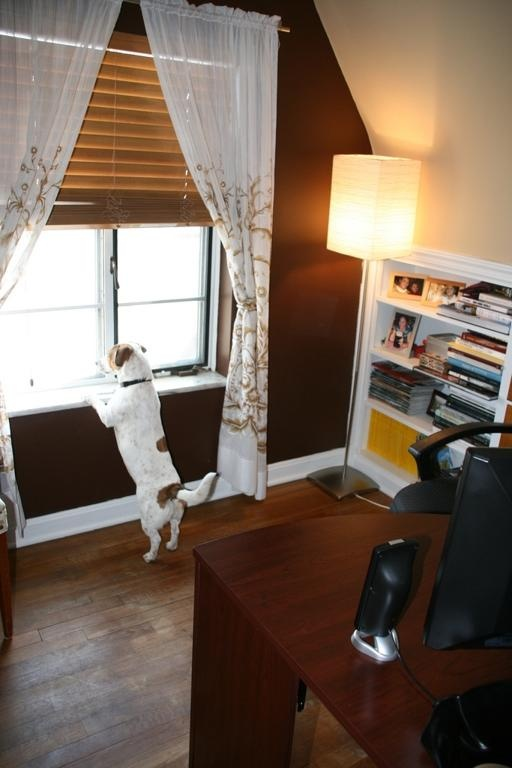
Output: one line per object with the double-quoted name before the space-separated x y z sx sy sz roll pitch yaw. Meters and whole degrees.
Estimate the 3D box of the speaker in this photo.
"speaker" 0.231 0.377 0.988 0.109 0.217 0.098 -2 13 -10

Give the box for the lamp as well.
"lamp" 0.611 -0.257 3.058 0.469 1.921 0.662 -4 13 -20
